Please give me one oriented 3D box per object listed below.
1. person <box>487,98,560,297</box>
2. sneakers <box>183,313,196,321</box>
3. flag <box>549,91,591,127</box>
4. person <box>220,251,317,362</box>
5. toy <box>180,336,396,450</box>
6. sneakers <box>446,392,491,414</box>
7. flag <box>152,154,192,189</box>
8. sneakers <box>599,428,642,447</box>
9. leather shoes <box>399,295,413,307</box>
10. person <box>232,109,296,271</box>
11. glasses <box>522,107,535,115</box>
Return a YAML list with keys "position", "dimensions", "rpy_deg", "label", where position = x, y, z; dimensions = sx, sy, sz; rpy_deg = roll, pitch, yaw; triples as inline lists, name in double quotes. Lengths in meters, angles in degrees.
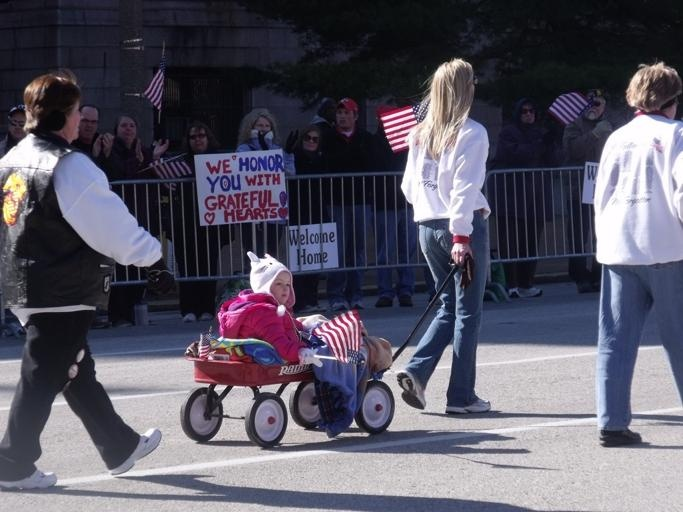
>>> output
- position: [2.363, -0.761, 16.298]
  dimensions: [0.745, 2.585, 0.848]
  rpy_deg: [0, 5, 8]
  label: "person"
- position: [-1.831, 0.746, 14.935]
  dimensions: [0.113, 0.036, 0.100]
  rpy_deg: [2, 48, -1]
  label: "sneakers"
- position: [3.144, -2.007, 16.888]
  dimensions: [0.445, 0.441, 0.122]
  rpy_deg: [31, 7, 24]
  label: "flag"
- position: [-0.550, 0.397, 9.641]
  dimensions: [0.779, 0.883, 0.677]
  rpy_deg: [-2, 6, -6]
  label: "person"
- position: [-0.420, 1.076, 9.695]
  dimensions: [1.352, 0.601, 0.850]
  rpy_deg: [6, -5, -34]
  label: "toy"
- position: [1.069, 1.236, 10.402]
  dimensions: [0.390, 0.180, 0.141]
  rpy_deg: [-4, -2, -6]
  label: "sneakers"
- position: [-2.036, -1.059, 14.934]
  dimensions: [0.477, 0.355, 0.154]
  rpy_deg: [-31, 36, -18]
  label: "flag"
- position: [2.086, 1.375, 9.366]
  dimensions: [0.316, 0.131, 0.120]
  rpy_deg: [-3, 4, -18]
  label: "sneakers"
- position: [0.795, 0.575, 15.715]
  dimensions: [0.174, 0.168, 0.108]
  rpy_deg: [-1, -1, 13]
  label: "leather shoes"
- position: [-0.955, -0.813, 15.055]
  dimensions: [0.812, 1.938, 0.528]
  rpy_deg: [-3, 6, -23]
  label: "person"
- position: [2.442, -1.910, 16.225]
  dimensions: [0.204, 0.070, 0.073]
  rpy_deg: [-5, 6, -42]
  label: "glasses"
